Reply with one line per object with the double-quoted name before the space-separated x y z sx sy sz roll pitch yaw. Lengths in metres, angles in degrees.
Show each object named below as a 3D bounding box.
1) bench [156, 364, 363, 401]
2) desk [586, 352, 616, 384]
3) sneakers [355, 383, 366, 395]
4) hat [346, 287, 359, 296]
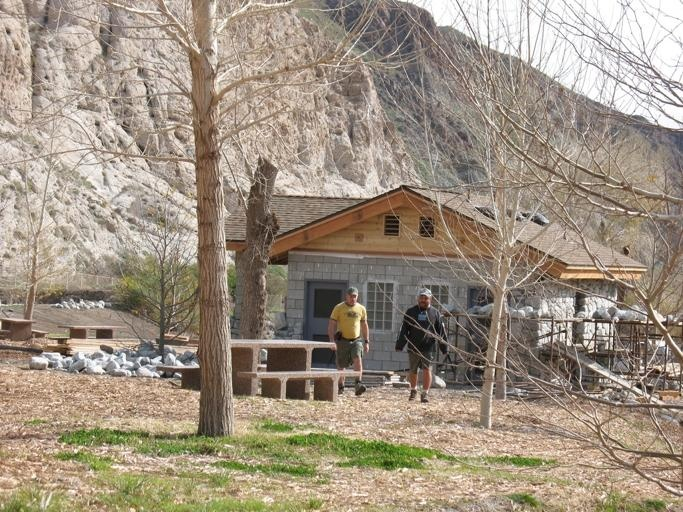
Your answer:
"bench" -1.371 2.656 22.038 3.438 0.700 1.831 7 -8 -27
"desk" 6.603 2.898 26.767 0.759 0.876 0.793 -1 2 -33
"sneakers" 0.424 2.944 22.965 0.125 0.234 0.357 4 -41 -23
"hat" 0.203 0.743 22.691 0.196 0.237 0.173 -7 -11 22
